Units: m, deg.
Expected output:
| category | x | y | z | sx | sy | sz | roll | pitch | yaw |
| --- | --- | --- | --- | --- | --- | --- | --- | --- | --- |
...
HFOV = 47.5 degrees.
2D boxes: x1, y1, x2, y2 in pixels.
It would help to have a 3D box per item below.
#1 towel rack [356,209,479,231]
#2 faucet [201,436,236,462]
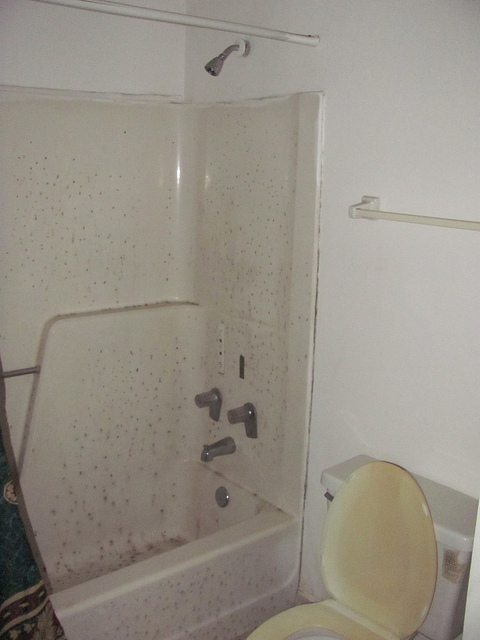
| category | x | y | z | sx | sy | sz | roll | pitch | yaw |
| --- | --- | --- | --- | --- | --- | --- | --- | --- | --- |
| towel rack | 0.339 | -0.191 | 1.045 | 0.048 | 0.024 | 0.291 | -2 | 15 | -33 |
| faucet | -0.074 | 0.429 | 1.837 | 0.110 | 0.072 | 0.028 | -22 | 3 | -23 |
